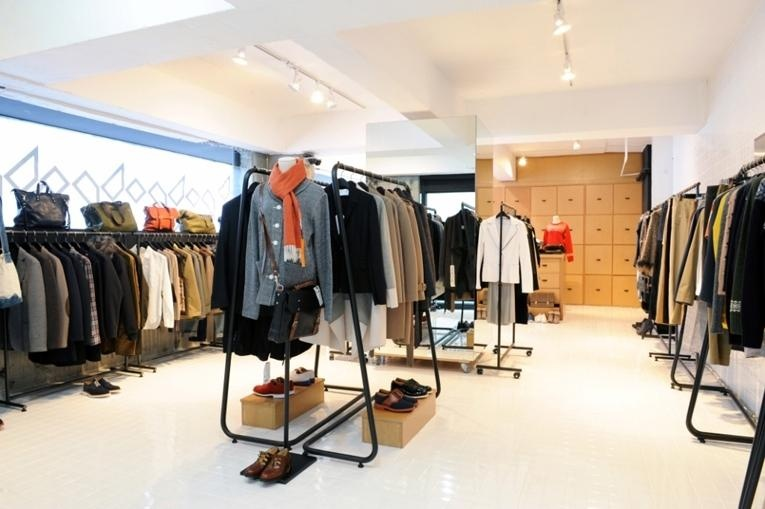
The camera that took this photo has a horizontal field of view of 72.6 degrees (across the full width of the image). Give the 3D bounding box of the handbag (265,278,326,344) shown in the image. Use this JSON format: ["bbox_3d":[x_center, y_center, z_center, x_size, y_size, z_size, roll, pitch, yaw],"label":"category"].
[{"bbox_3d":[-0.698,0.421,4.095,0.226,0.503,0.541,5,5,29],"label":"handbag"}]

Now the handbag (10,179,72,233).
[{"bbox_3d":[-3.833,-0.528,5.811,0.362,0.674,0.722,-3,-3,38],"label":"handbag"}]

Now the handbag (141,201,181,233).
[{"bbox_3d":[-2.972,-0.482,6.928,0.281,0.375,0.616,2,8,12],"label":"handbag"}]

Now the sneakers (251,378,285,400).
[{"bbox_3d":[-1.031,1.246,4.819,0.399,0.183,0.149,2,-7,9],"label":"sneakers"}]

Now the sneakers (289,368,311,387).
[{"bbox_3d":[-0.826,1.220,5.170,0.225,0.098,0.115,0,-2,37],"label":"sneakers"}]

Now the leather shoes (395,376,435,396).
[{"bbox_3d":[0.285,1.258,4.918,0.266,0.095,0.170,3,-6,6],"label":"leather shoes"}]

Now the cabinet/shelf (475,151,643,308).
[{"bbox_3d":[3.650,-0.451,10.176,3.441,3.026,1.026,1,-1,18],"label":"cabinet/shelf"}]

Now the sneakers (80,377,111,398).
[{"bbox_3d":[-3.032,1.428,5.536,0.323,0.124,0.187,6,10,36],"label":"sneakers"}]

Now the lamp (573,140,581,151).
[{"bbox_3d":[4.102,-2.312,11.093,0.128,0.126,1.261,3,8,21],"label":"lamp"}]

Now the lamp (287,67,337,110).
[{"bbox_3d":[-1.021,-2.382,7.551,0.243,0.265,0.884,1,13,17],"label":"lamp"}]

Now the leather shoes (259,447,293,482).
[{"bbox_3d":[-0.829,1.657,4.067,0.180,0.159,0.278,2,8,12],"label":"leather shoes"}]

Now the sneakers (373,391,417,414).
[{"bbox_3d":[0.106,1.317,4.655,0.242,0.094,0.195,2,-1,10],"label":"sneakers"}]

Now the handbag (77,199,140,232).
[{"bbox_3d":[-3.251,-0.436,6.300,0.362,0.439,0.647,-3,-5,37],"label":"handbag"}]

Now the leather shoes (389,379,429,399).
[{"bbox_3d":[0.260,1.265,4.919,0.276,0.100,0.177,3,-5,9],"label":"leather shoes"}]

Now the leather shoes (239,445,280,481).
[{"bbox_3d":[-0.965,1.648,4.079,0.125,0.133,0.344,-1,-4,19],"label":"leather shoes"}]

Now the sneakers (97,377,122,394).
[{"bbox_3d":[-2.932,1.432,5.592,0.307,0.123,0.109,1,-3,11],"label":"sneakers"}]
